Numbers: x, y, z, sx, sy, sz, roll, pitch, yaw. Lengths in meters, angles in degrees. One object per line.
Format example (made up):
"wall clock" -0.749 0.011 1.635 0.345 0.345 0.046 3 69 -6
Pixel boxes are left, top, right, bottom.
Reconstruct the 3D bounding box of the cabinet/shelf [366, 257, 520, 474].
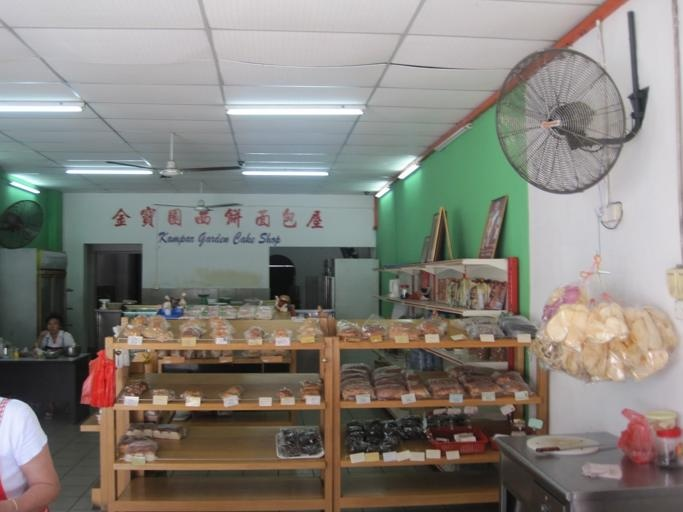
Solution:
"cabinet/shelf" 0.955 1.015 4.884 0.861 1.864 2.313 1 -3 -4

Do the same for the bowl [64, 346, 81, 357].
"bowl" -3.432 1.206 6.913 0.163 0.090 0.169 0 -7 0

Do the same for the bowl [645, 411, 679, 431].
"bowl" 1.873 0.946 3.143 0.132 0.037 0.117 2 1 38

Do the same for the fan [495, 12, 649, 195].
"fan" 1.312 -0.824 3.318 0.763 0.855 0.226 0 8 29

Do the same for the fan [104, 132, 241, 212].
"fan" -2.242 -1.206 7.621 1.321 0.369 1.191 4 -5 -18

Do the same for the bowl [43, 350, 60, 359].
"bowl" -3.660 1.237 6.851 0.137 0.055 0.137 0 -11 0
